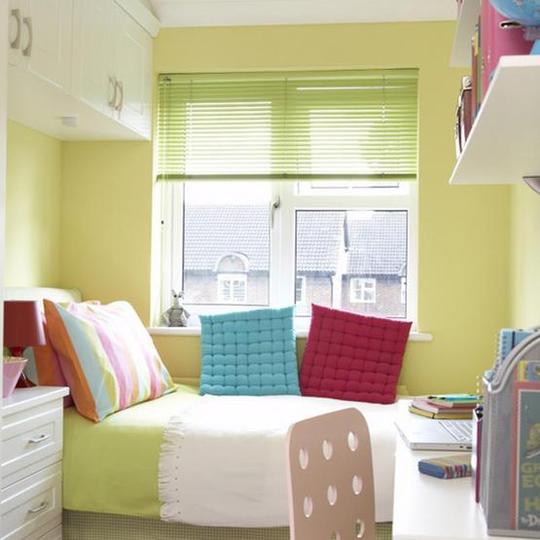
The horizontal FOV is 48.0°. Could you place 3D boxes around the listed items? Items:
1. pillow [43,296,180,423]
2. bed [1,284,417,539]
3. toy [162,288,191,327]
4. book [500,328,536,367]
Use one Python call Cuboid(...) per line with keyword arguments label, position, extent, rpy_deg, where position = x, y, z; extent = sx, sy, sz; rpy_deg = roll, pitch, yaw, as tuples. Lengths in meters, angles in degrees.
Cuboid(label="pillow", position=(-0.656, 0.315, 2.380), extent=(0.114, 0.435, 0.421), rpy_deg=(-25, -8, 16))
Cuboid(label="bed", position=(-0.138, 0.413, 2.544), extent=(1.275, 1.067, 0.870), rpy_deg=(-1, 0, 6))
Cuboid(label="toy", position=(-0.483, 0.213, 3.144), extent=(0.151, 0.270, 0.153), rpy_deg=(2, -13, -10))
Cuboid(label="book", position=(0.494, 0.130, 1.215), extent=(0.045, 0.107, 0.094), rpy_deg=(-2, -1, 25))
